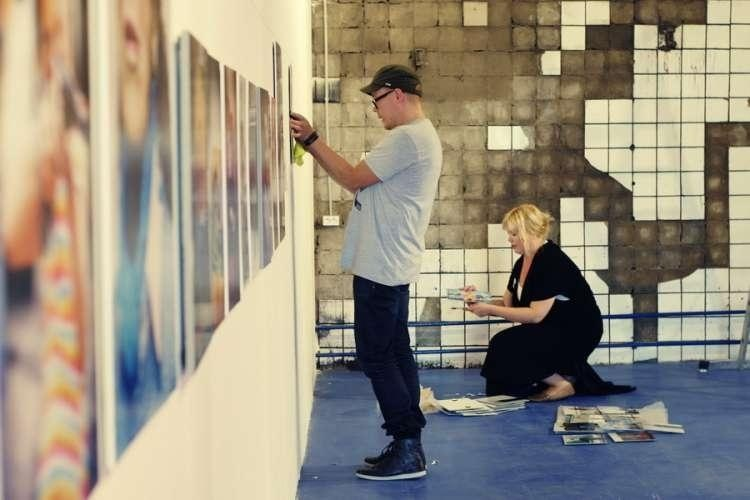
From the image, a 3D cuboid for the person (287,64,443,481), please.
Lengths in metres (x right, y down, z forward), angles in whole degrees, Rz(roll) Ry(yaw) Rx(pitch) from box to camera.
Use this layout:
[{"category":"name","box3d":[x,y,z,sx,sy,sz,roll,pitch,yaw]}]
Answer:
[{"category":"person","box3d":[-0.003,0.118,6.817,0.676,2.210,0.313,1,2,-1]}]

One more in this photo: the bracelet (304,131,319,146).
[{"category":"bracelet","box3d":[-0.332,-0.582,6.702,0.091,0.061,0.083,-31,1,1]}]

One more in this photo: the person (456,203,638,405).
[{"category":"person","box3d":[1.141,0.464,8.613,1.277,1.513,0.885,1,-5,7]}]

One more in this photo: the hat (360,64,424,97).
[{"category":"hat","box3d":[0.061,-0.908,6.875,0.362,0.186,0.230,3,-1,-5]}]

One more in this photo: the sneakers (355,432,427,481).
[{"category":"sneakers","box3d":[0.123,1.118,6.819,0.452,0.260,0.172,1,-4,3]}]

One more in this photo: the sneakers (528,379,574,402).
[{"category":"sneakers","box3d":[1.119,0.877,7.978,0.313,0.141,0.108,-8,-5,-12]}]

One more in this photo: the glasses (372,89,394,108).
[{"category":"glasses","box3d":[0.040,-0.820,6.824,0.094,0.028,0.092,-23,4,3]}]
